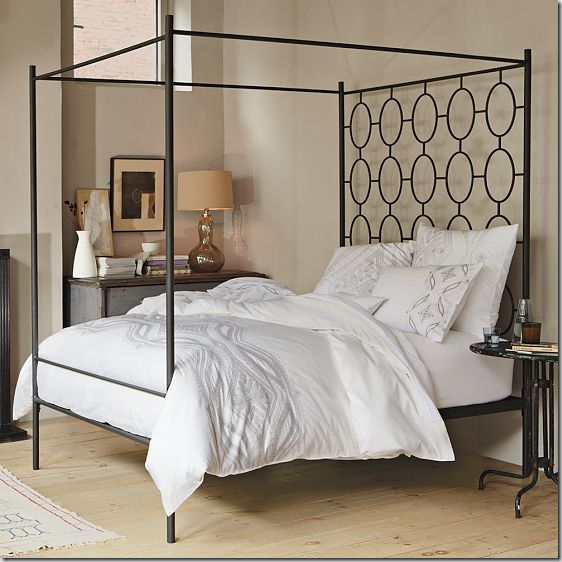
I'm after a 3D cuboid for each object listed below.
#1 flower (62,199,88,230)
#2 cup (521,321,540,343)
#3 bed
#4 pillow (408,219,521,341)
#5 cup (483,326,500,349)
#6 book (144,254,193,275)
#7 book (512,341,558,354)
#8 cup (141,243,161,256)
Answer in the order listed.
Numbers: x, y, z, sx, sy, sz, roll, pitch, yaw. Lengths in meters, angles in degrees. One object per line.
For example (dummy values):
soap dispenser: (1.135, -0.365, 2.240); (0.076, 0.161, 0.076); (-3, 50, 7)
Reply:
flower: (-1.428, -0.464, 4.259); (0.194, 0.306, 0.061); (-5, 12, -20)
cup: (0.960, 0.201, 2.389); (0.067, 0.082, 0.100); (0, -2, 19)
bed: (-0.227, -0.265, 3.403); (2.519, 2.627, 2.239); (3, -4, -32)
pillow: (0.866, -0.010, 2.794); (0.148, 0.477, 0.488); (25, -8, -30)
cup: (0.839, 0.230, 2.492); (0.066, 0.082, 0.084); (2, 5, 14)
book: (-0.805, -0.112, 4.392); (0.218, 0.081, 0.219); (3, -3, -44)
book: (0.943, 0.253, 2.319); (0.157, 0.031, 0.211); (0, -2, 22)
cup: (-0.940, -0.234, 4.438); (0.094, 0.072, 0.095); (1, 10, 0)
